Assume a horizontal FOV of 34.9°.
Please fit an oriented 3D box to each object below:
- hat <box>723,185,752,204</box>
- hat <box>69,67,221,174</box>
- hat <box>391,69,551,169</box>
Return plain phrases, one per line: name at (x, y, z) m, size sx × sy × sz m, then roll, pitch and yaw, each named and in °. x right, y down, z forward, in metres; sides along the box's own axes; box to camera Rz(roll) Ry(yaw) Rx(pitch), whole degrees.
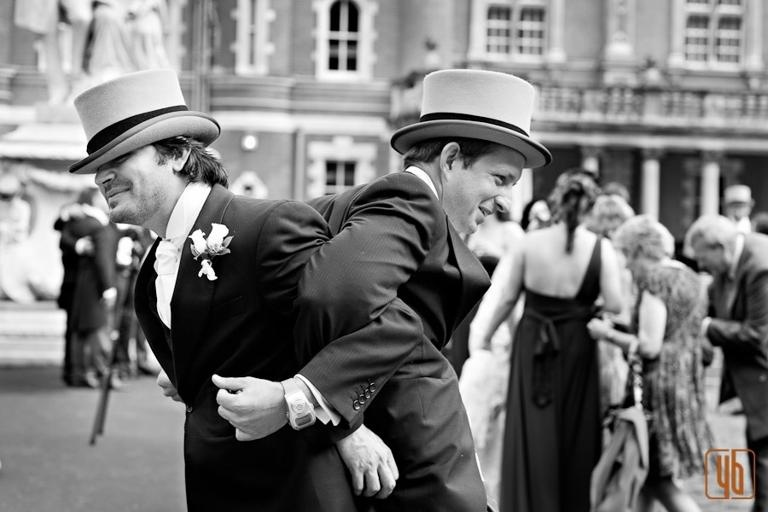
hat at (1.735, -0.304, 6.009) m, size 0.100 × 0.072 × 0.096 m, roll 1°, pitch -4°, yaw 2°
hat at (-0.943, -0.550, 4.720) m, size 0.496 × 0.237 × 0.387 m, roll -16°, pitch -8°, yaw -32°
hat at (0.352, -0.567, 4.757) m, size 0.470 × 0.212 × 0.409 m, roll 5°, pitch -3°, yaw -4°
